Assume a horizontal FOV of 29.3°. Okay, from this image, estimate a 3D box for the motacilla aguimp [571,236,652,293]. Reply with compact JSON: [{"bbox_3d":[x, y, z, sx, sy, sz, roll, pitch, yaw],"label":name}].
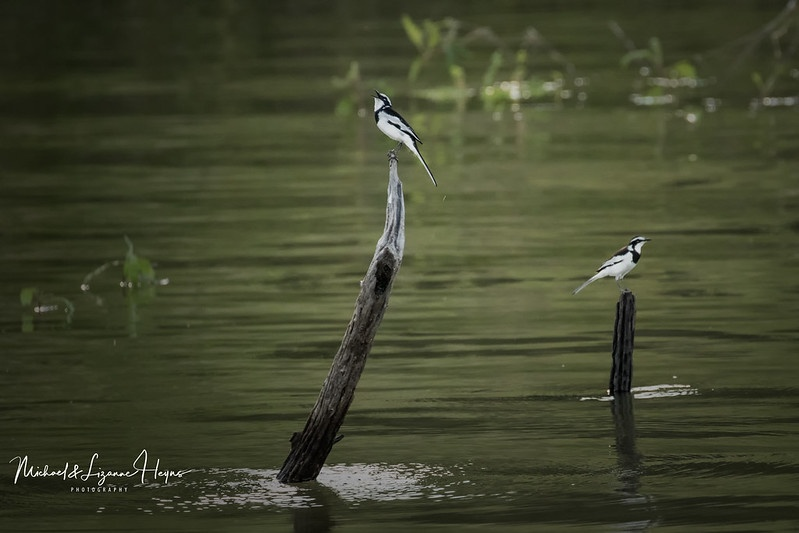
[{"bbox_3d":[3.878,-0.017,27.013,0.844,0.806,1.349,-2,-12,6],"label":"motacilla aguimp"}]
